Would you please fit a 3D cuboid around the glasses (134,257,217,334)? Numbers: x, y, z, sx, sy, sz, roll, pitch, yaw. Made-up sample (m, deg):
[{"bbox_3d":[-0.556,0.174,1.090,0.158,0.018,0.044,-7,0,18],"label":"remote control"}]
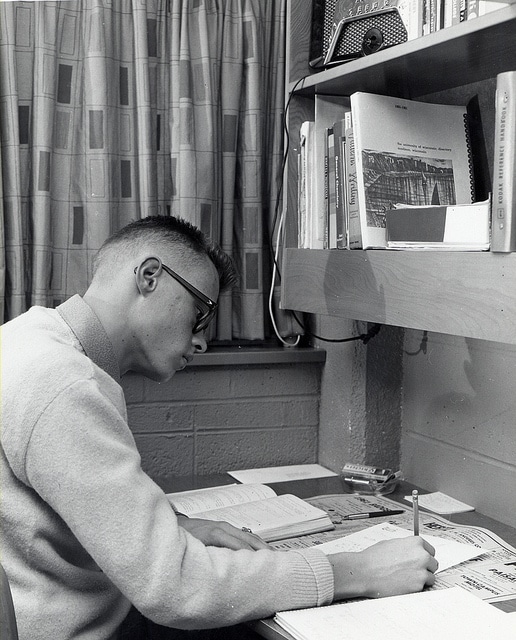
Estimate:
[{"bbox_3d":[-0.124,-0.054,1.045,0.036,0.122,0.117,-44,-4,-15],"label":"glasses"}]
